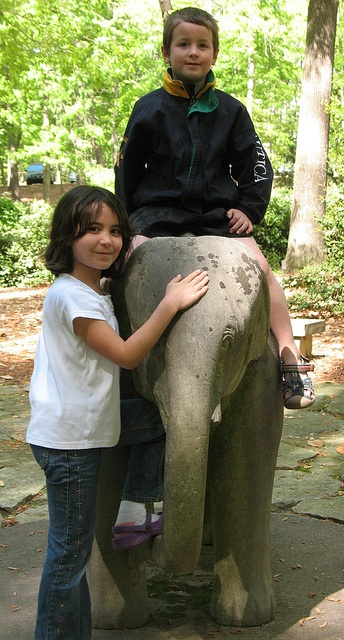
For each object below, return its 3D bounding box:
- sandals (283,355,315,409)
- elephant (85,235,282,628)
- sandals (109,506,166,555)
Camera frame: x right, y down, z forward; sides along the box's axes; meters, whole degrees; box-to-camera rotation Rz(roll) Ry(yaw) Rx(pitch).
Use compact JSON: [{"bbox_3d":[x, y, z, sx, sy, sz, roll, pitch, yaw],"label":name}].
[{"bbox_3d":[0.419,0.195,1.853,0.083,0.083,0.211,-2,6,5],"label":"sandals"},{"bbox_3d":[0.027,0.335,1.695,0.558,1.071,1.115,2,-3,-2],"label":"elephant"},{"bbox_3d":[-0.070,0.555,1.498,0.207,0.083,0.076,-8,-22,-29],"label":"sandals"}]
